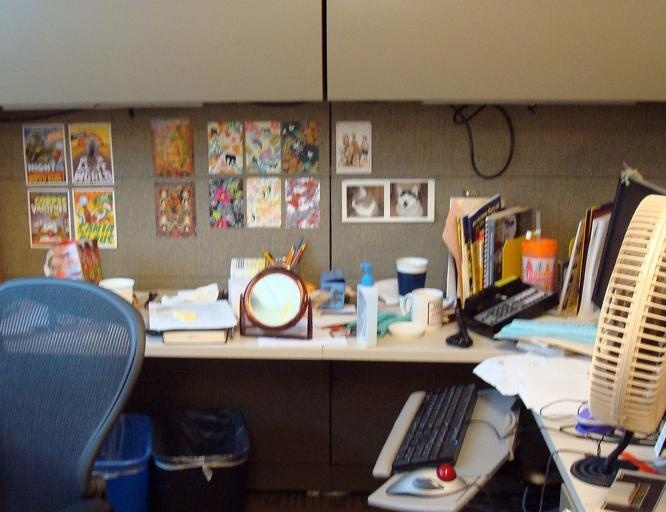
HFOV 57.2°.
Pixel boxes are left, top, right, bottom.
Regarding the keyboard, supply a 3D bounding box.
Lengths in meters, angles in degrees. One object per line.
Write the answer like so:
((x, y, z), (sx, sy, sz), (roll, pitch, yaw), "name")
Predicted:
((0.299, 0.478, 1.724), (0.160, 0.092, 0.427), (2, 11, 23), "keyboard")

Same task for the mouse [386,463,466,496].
((0.232, 0.552, 1.508), (0.199, 0.057, 0.089), (-2, 10, 3), "mouse")

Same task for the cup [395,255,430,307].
((0.289, 0.085, 2.216), (0.125, 0.231, 0.138), (3, 6, 25), "cup")

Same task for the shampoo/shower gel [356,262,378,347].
((0.105, 0.167, 1.867), (0.055, 0.218, 0.098), (-3, 10, -5), "shampoo/shower gel")

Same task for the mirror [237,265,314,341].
((-0.190, 0.162, 1.992), (0.204, 0.233, 0.033), (0, -17, 0), "mirror")

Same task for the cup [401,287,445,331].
((0.304, 0.175, 2.066), (0.131, 0.133, 0.091), (-1, 4, 1), "cup")
